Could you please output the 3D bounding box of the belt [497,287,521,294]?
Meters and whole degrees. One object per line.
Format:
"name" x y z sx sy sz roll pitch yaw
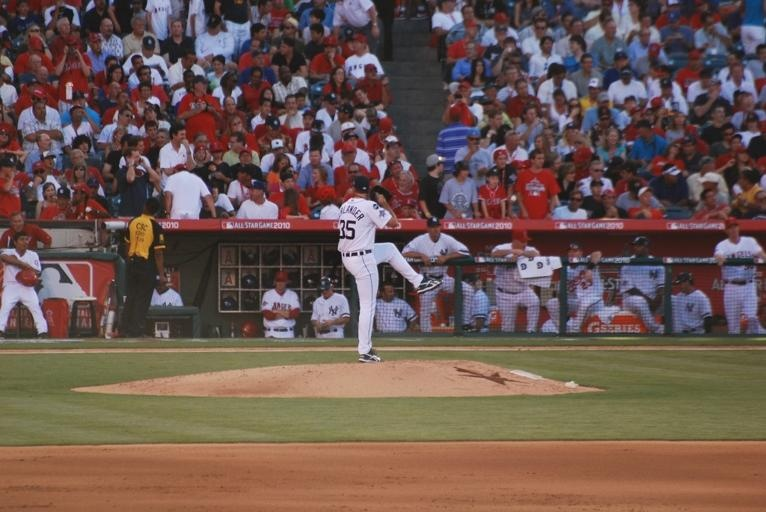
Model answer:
"belt" 2.395 0.609 35.642 0.452 0.099 0.071 -1 -9 6

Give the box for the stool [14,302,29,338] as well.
"stool" -6.843 1.194 35.508 0.423 0.540 0.205 1 4 -14

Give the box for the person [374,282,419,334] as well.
"person" 0.197 0.931 35.434 0.742 0.951 0.541 -3 -2 3

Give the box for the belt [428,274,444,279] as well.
"belt" 1.013 0.352 35.661 0.312 0.120 0.101 -1 -1 -2

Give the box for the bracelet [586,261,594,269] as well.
"bracelet" 3.946 0.125 35.592 0.134 0.123 0.129 -10 13 -20

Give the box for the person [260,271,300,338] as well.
"person" -2.011 0.894 36.572 0.645 1.311 0.611 1 -2 -6

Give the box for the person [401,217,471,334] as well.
"person" 1.040 0.306 36.194 1.301 2.180 0.816 0 0 -1

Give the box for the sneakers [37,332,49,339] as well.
"sneakers" -6.446 1.453 35.406 0.168 0.097 0.095 -6 -12 9
